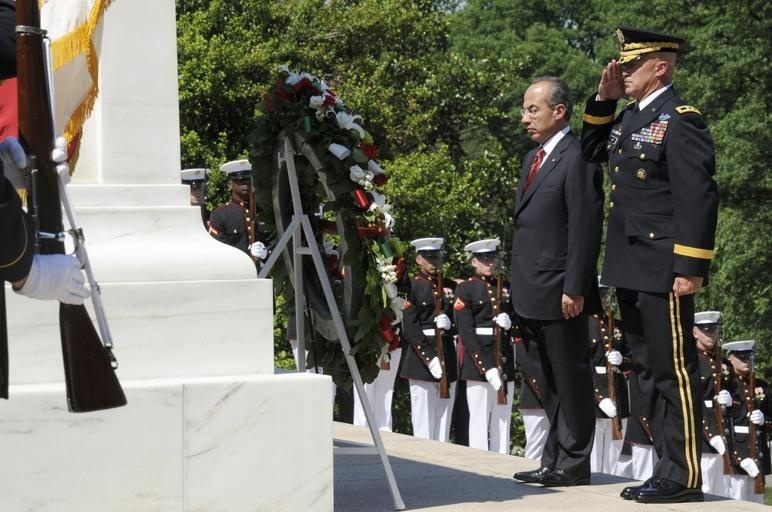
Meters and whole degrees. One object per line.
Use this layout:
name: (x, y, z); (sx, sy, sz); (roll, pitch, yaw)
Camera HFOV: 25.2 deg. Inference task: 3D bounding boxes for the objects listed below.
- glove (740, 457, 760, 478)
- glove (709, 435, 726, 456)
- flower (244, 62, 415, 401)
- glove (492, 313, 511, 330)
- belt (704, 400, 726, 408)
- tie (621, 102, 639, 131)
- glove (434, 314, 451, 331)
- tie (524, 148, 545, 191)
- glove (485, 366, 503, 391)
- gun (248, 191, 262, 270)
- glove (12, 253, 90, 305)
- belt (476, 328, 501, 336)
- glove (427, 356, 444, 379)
glove: (4.142, 2.361, 19.587); (0.190, 0.246, 0.077); (-31, 13, 16)
glove: (3.668, 2.067, 19.053); (0.091, 0.236, 0.180); (-15, -34, 8)
flower: (-0.548, -0.328, 15.714); (1.352, 2.967, 0.809); (-3, -3, 15)
glove: (1.361, 0.731, 19.866); (0.225, 0.184, 0.142); (1, -4, -38)
belt: (3.628, 1.627, 19.297); (0.181, 0.053, 0.121); (-1, 2, -19)
tie: (2.203, -1.279, 15.628); (0.060, 0.226, 0.236); (15, 4, -23)
glove: (0.677, 0.749, 20.207); (0.169, 0.195, 0.282); (-5, -4, 43)
tie: (1.389, -0.815, 16.060); (0.087, 0.411, 0.108); (25, -16, 11)
glove: (1.211, 1.365, 19.501); (0.190, 0.236, 0.075); (14, -28, -34)
gun: (-1.413, -0.287, 18.422); (0.159, 0.881, 0.128); (-6, -6, 4)
glove: (-2.639, 0.172, 13.702); (0.782, 0.426, 0.434); (3, -11, -15)
belt: (1.154, 0.842, 19.817); (0.235, 0.100, 0.058); (-2, -3, 1)
glove: (0.559, 1.277, 19.972); (0.066, 0.221, 0.173); (-18, -10, -29)
